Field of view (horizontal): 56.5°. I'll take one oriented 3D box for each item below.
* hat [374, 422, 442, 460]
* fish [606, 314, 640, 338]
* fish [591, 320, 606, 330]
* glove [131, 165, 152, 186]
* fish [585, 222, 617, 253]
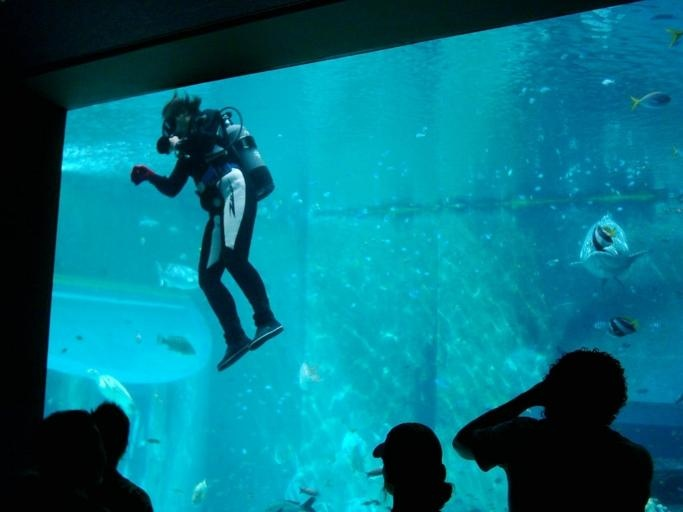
[{"bbox_3d":[1.080,2.897,9.889,0.817,0.414,0.604,6,-21,4],"label":"hat"},{"bbox_3d":[6.293,1.574,14.127,0.485,0.470,0.550,-8,0,-18],"label":"fish"},{"bbox_3d":[8.999,2.440,22.150,0.497,0.443,0.139,-13,-23,34],"label":"fish"},{"bbox_3d":[-3.485,-1.395,11.069,0.346,0.338,0.337,-8,0,-18],"label":"glove"},{"bbox_3d":[5.972,-0.420,14.581,0.592,0.587,0.700,-2,27,14],"label":"fish"}]
